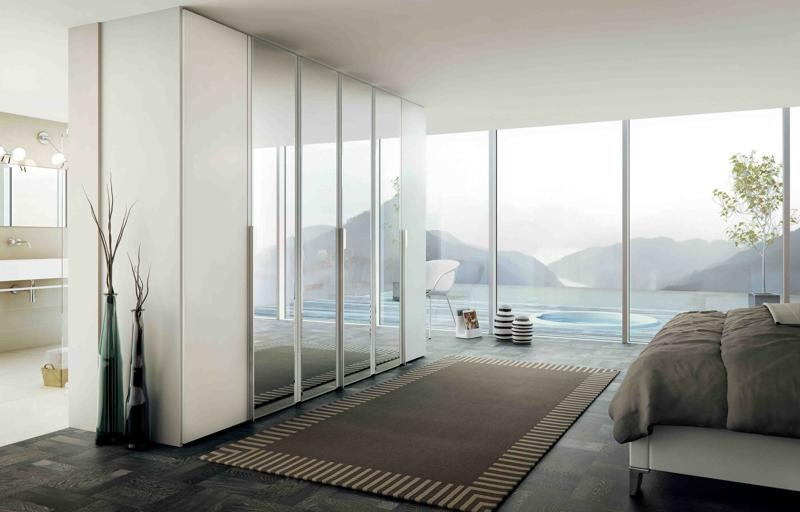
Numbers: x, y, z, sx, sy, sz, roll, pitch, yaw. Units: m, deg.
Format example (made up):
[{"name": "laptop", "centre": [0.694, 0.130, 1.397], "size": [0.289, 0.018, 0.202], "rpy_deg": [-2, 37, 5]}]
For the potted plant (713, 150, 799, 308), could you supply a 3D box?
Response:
[{"name": "potted plant", "centre": [4.972, -0.491, 7.088], "size": [0.992, 1.962, 0.346], "rpy_deg": [3, 8, 32]}]

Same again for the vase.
[{"name": "vase", "centre": [-2.171, 0.899, 3.994], "size": [0.441, 1.196, 0.280], "rpy_deg": [2, 7, 20]}]

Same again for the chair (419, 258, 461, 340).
[{"name": "chair", "centre": [0.666, 0.651, 8.014], "size": [0.501, 1.133, 0.778], "rpy_deg": [0, 6, 4]}]
